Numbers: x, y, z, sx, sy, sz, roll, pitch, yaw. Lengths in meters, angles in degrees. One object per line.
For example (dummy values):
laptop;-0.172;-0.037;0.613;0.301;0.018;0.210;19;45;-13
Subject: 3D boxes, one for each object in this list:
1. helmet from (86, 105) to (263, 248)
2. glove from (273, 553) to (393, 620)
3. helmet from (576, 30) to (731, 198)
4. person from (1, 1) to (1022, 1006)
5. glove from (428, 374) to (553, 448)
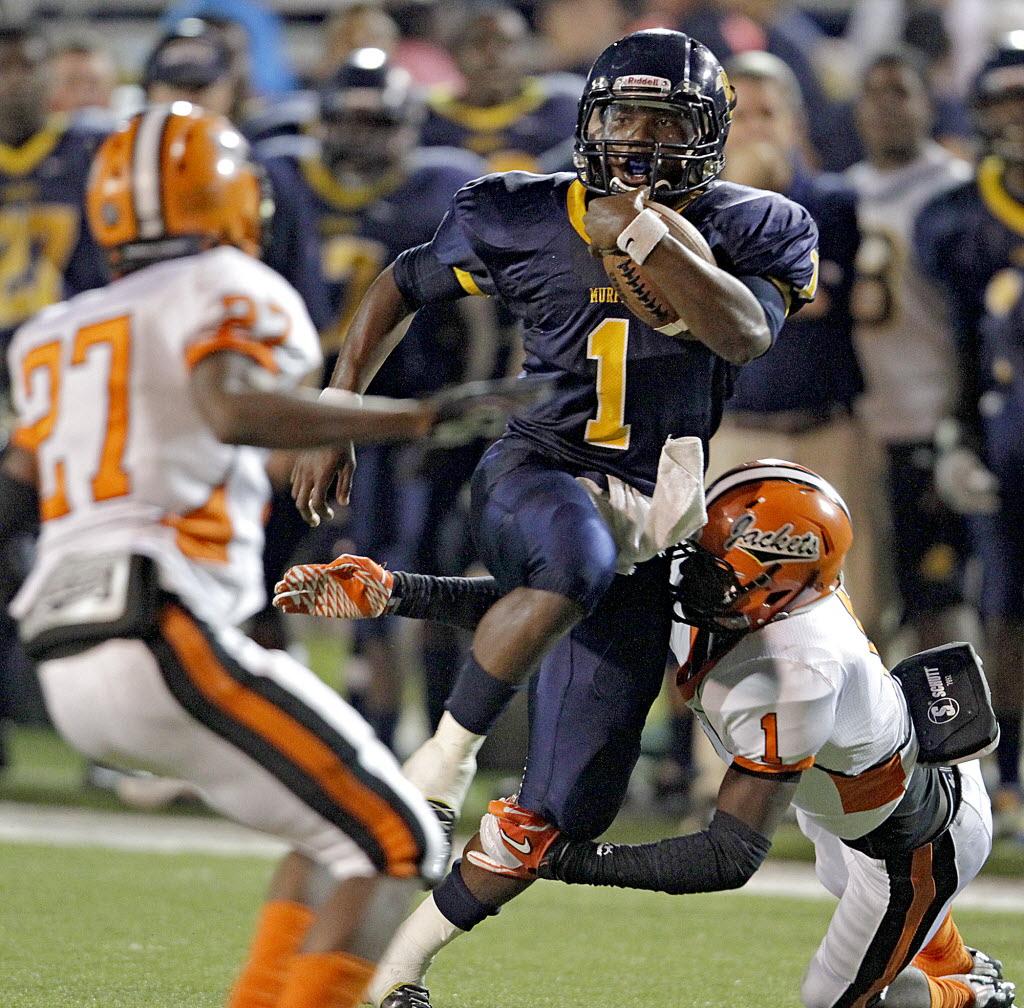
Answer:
helmet;-0.503;-0.481;2.204;0.289;0.195;0.189;-11;15;-13
glove;-0.319;0.150;2.775;0.208;0.117;0.279;5;-4;-4
helmet;0.313;-0.709;2.740;0.309;0.247;0.344;5;22;15
person;0.275;0.027;2.791;1.342;1.822;0.604;7;-5;-9
glove;-0.031;-0.133;2.167;0.163;0.088;0.268;5;-4;-2
